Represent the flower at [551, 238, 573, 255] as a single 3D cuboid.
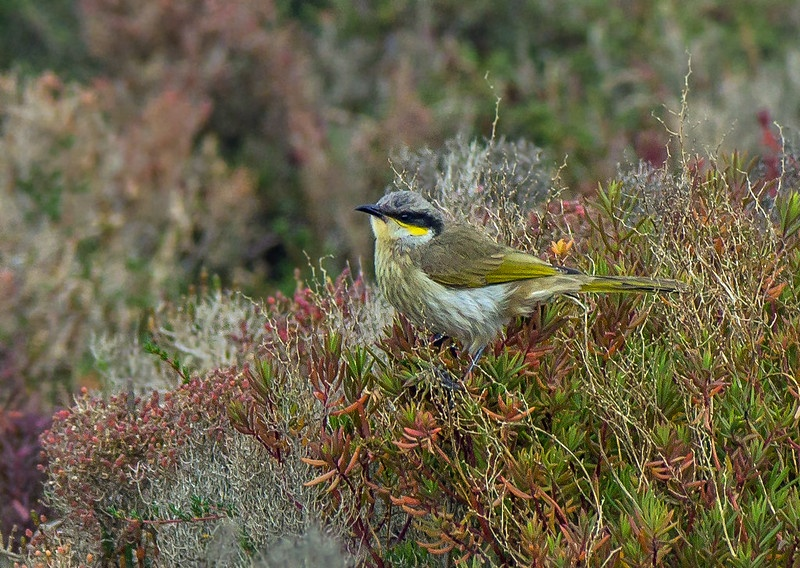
[{"bbox_3d":[0.915,-0.206,6.412,0.110,0.093,0.084,-13,76,55],"label":"flower"}]
